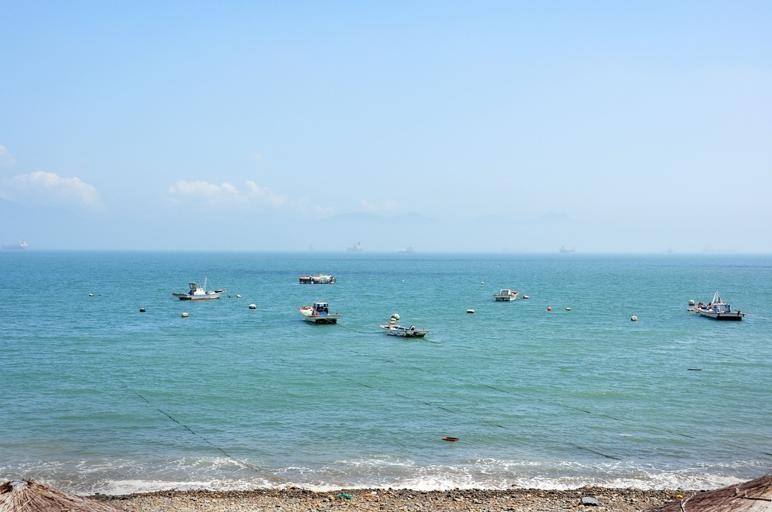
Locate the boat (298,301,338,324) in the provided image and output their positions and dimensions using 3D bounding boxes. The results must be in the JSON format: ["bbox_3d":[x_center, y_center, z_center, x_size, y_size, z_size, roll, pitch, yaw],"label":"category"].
[{"bbox_3d":[-11.481,9.745,134.040,4.036,3.258,7.367,-2,9,-18],"label":"boat"}]
